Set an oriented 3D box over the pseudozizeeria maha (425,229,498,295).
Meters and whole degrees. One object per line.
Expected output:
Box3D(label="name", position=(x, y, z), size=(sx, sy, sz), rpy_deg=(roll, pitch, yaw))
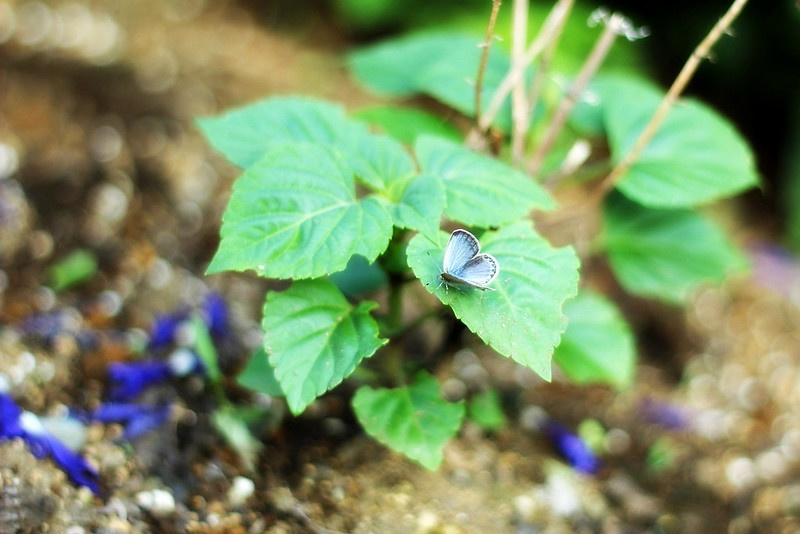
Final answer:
Box3D(label="pseudozizeeria maha", position=(0.228, -0.011, 3.314), size=(0.211, 0.123, 0.243), rpy_deg=(10, 49, -9))
